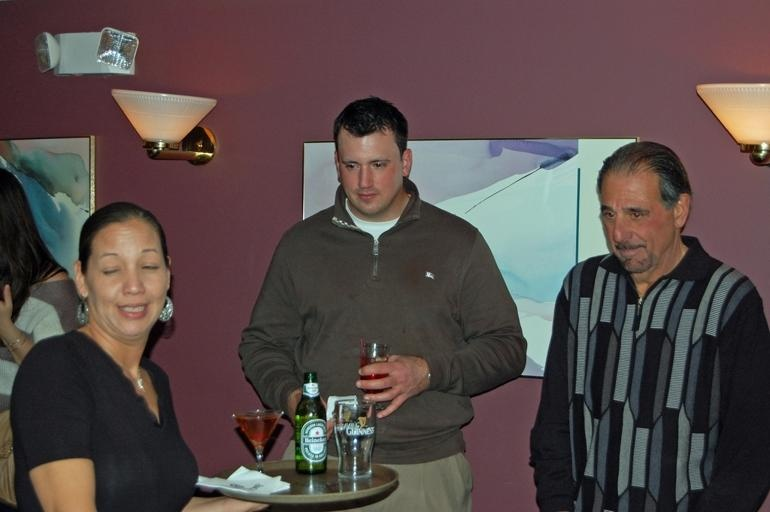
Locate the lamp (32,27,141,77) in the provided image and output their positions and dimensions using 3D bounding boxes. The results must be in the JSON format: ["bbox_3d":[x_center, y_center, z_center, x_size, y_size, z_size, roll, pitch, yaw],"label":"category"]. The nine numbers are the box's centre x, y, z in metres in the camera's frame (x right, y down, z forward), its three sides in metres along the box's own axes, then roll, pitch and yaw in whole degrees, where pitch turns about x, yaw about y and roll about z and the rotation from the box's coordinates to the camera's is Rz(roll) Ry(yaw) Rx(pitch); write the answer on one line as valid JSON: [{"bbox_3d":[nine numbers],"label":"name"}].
[{"bbox_3d":[-1.801,-1.205,4.577,0.598,0.249,0.598,-8,14,-18],"label":"lamp"}]

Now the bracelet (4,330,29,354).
[{"bbox_3d":[-1.597,0.368,3.273,0.081,0.044,0.094,-5,-8,-20],"label":"bracelet"}]

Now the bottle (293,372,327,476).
[{"bbox_3d":[-0.301,0.660,3.057,0.127,0.389,0.252,-1,-6,-6],"label":"bottle"}]

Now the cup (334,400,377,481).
[{"bbox_3d":[-0.119,0.702,2.942,0.155,0.295,0.140,-2,-6,2],"label":"cup"}]

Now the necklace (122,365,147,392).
[{"bbox_3d":[-0.900,0.438,2.725,0.066,0.034,0.091,-3,32,-13],"label":"necklace"}]

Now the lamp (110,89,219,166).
[{"bbox_3d":[-1.140,-0.683,4.070,0.405,0.375,0.511,6,8,36],"label":"lamp"}]

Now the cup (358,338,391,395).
[{"bbox_3d":[-0.044,0.481,3.272,0.115,0.228,0.266,-2,-6,-1],"label":"cup"}]
